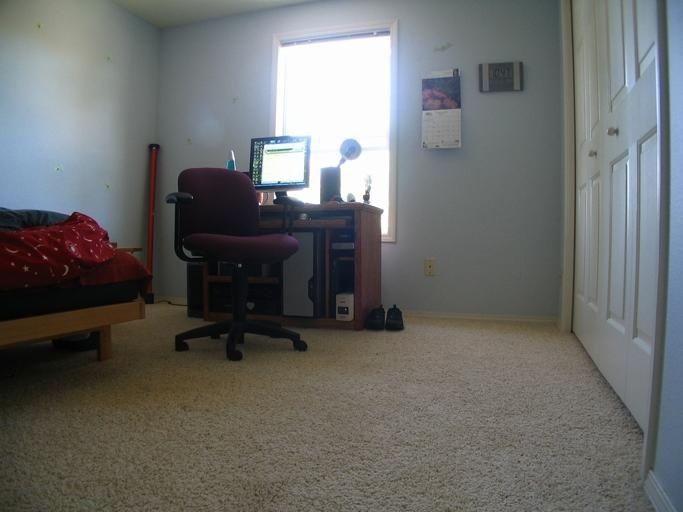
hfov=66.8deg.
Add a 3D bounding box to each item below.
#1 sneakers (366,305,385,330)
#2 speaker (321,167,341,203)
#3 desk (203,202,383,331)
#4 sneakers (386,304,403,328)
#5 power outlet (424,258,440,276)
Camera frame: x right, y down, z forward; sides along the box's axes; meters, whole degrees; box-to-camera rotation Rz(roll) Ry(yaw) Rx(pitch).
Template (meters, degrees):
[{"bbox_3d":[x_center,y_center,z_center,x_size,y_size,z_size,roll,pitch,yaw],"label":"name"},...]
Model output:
[{"bbox_3d":[0.217,0.405,3.343,0.131,0.121,0.151,0,5,-5],"label":"sneakers"},{"bbox_3d":[-0.076,-0.495,3.591,0.132,0.236,0.087,-1,5,-9],"label":"speaker"},{"bbox_3d":[-0.278,0.082,3.617,1.335,1.046,0.748,0,1,19],"label":"desk"},{"bbox_3d":[0.340,0.395,3.343,0.119,0.144,0.162,0,5,1],"label":"sneakers"},{"bbox_3d":[0.661,0.079,3.785,0.118,0.169,0.017,1,0,12],"label":"power outlet"}]
